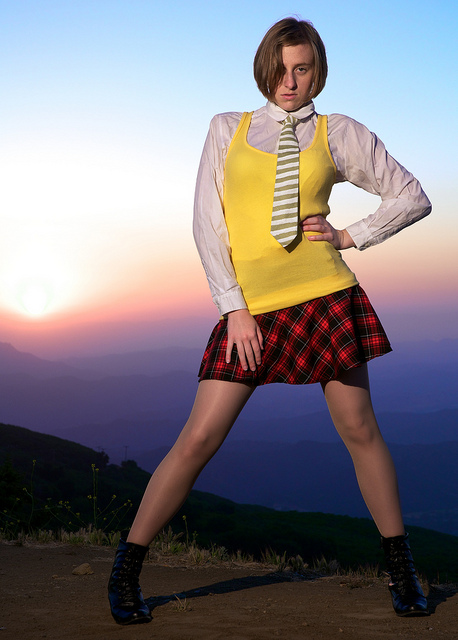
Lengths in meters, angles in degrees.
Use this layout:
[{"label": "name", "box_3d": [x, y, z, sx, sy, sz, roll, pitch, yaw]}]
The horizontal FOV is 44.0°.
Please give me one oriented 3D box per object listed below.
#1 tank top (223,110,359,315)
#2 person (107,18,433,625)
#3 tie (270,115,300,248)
[{"label": "tank top", "box_3d": [0.246, -0.398, 2.114, 0.545, 0.732, 0.326, 5, 14, -4]}, {"label": "person", "box_3d": [0.228, -0.051, 2.053, 1.144, 2.023, 0.799, 3, 15, -9]}, {"label": "tie", "box_3d": [0.204, -0.498, 2.032, 0.089, 0.446, 0.190, 4, 14, -8]}]
